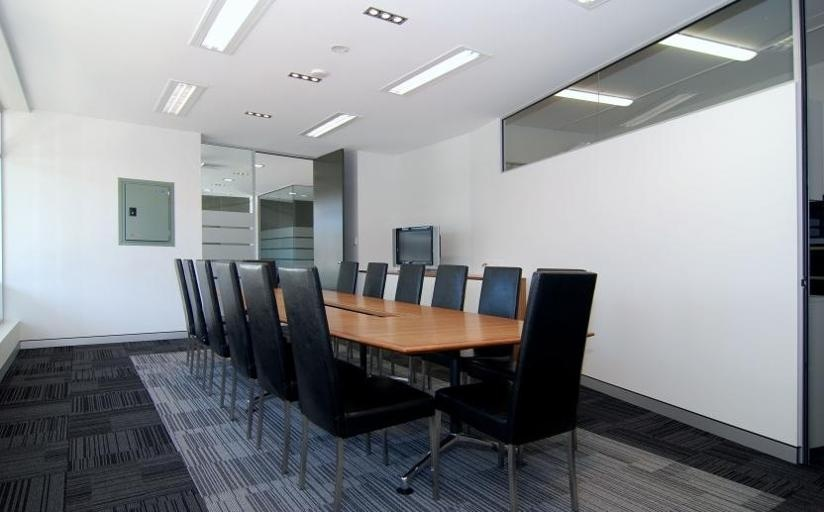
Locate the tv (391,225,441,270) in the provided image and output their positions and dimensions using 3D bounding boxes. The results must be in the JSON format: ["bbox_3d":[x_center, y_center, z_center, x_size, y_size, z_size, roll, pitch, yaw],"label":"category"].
[{"bbox_3d":[0.176,-0.196,9.180,0.707,0.906,1.366,-2,2,-32],"label":"tv"}]

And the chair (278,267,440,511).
[{"bbox_3d":[-0.497,1.048,4.226,1.024,1.948,0.743,-3,8,-28],"label":"chair"}]
